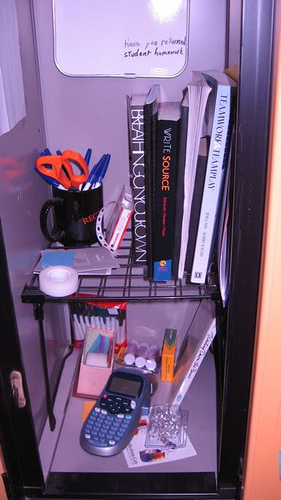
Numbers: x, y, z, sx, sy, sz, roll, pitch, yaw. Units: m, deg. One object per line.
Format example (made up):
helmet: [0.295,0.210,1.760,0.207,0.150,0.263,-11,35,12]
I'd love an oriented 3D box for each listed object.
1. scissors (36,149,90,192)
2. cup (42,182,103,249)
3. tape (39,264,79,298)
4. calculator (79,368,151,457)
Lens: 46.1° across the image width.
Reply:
scissors: [-0.186,-0.209,0.829,0.137,0.053,0.152,-9,38,-24]
cup: [-0.178,-0.082,0.816,0.096,0.162,0.166,16,26,25]
tape: [-0.173,0.062,0.703,0.081,0.041,0.103,-8,32,-15]
calculator: [-0.054,0.439,0.929,0.147,0.067,0.333,2,12,19]
